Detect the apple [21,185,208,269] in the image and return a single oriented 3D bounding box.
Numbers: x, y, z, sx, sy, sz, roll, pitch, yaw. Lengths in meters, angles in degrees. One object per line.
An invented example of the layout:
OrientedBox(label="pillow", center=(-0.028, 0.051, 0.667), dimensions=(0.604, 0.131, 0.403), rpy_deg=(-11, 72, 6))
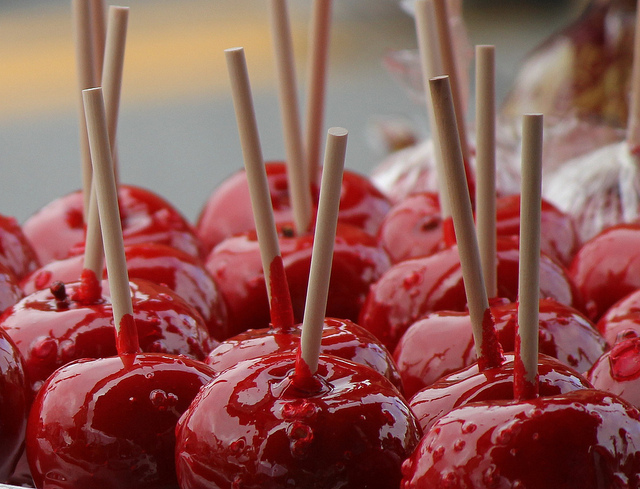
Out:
OrientedBox(label="apple", center=(-0.232, -0.051, 0.909), dimensions=(0.131, 0.117, 0.128), rpy_deg=(-2, 8, 1))

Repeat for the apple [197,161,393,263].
OrientedBox(label="apple", center=(-0.041, -0.005, 0.969), dimensions=(0.149, 0.135, 0.149), rpy_deg=(-2, -4, 15))

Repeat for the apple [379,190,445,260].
OrientedBox(label="apple", center=(0.112, -0.022, 0.955), dimensions=(0.069, 0.071, 0.069), rpy_deg=(4, 35, 20))

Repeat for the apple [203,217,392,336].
OrientedBox(label="apple", center=(-0.017, 0.029, 0.882), dimensions=(0.133, 0.123, 0.133), rpy_deg=(-6, -6, 21))

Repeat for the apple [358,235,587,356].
OrientedBox(label="apple", center=(0.127, 0.042, 0.717), dimensions=(0.135, 0.133, 0.133), rpy_deg=(-14, 3, 4))

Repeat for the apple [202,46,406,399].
OrientedBox(label="apple", center=(-0.020, -0.010, 0.664), dimensions=(0.162, 0.282, 0.150), rpy_deg=(-6, 6, -9))
